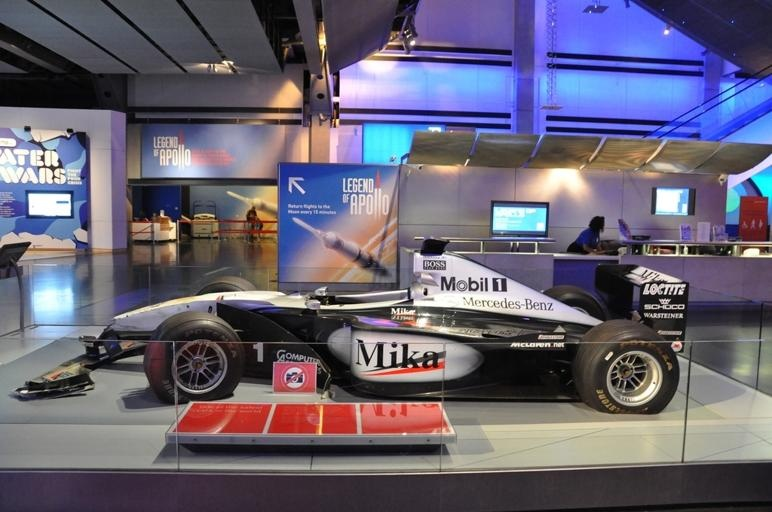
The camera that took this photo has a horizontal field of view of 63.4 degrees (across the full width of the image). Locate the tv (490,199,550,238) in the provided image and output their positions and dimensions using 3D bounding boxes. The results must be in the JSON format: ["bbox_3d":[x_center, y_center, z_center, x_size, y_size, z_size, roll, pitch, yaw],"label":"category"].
[{"bbox_3d":[2.635,-0.744,12.360,1.153,0.689,0.124,2,3,-5],"label":"tv"}]

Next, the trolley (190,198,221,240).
[{"bbox_3d":[-6.942,-1.414,23.971,1.063,1.444,1.590,-1,10,-13],"label":"trolley"}]

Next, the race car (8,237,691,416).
[{"bbox_3d":[-0.343,0.951,7.797,7.339,1.731,2.897,2,-2,-2],"label":"race car"}]

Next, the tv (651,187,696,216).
[{"bbox_3d":[6.029,-1.161,13.193,0.977,0.596,0.209,2,3,-12],"label":"tv"}]
